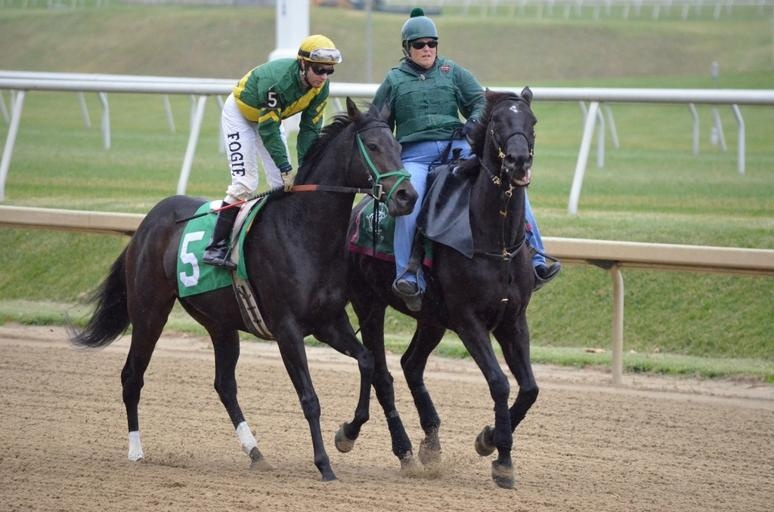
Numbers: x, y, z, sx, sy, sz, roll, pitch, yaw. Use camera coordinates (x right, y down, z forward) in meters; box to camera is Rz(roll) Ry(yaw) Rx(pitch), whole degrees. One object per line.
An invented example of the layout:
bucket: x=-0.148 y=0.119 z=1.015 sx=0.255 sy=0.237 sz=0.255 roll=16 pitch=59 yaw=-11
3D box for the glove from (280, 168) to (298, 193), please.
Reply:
glove: x=-0.931 y=-0.729 z=12.165 sx=0.157 sy=0.189 sz=0.070 roll=-12 pitch=-2 yaw=12

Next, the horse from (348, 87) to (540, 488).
horse: x=0.633 y=0.271 z=12.077 sx=1.642 sy=3.527 sz=1.011 roll=4 pitch=17 yaw=14

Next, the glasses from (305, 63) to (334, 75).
glasses: x=-0.627 y=-1.742 z=12.085 sx=0.126 sy=0.060 sz=0.158 roll=8 pitch=-1 yaw=-25

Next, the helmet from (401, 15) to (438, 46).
helmet: x=0.315 y=-2.171 z=12.454 sx=0.328 sy=0.277 sz=0.218 roll=0 pitch=16 yaw=1

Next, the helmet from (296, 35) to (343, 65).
helmet: x=-0.654 y=-1.935 z=12.097 sx=0.364 sy=0.189 sz=0.264 roll=-3 pitch=-17 yaw=35

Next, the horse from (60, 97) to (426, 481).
horse: x=-1.427 y=0.467 z=13.038 sx=1.367 sy=3.306 sz=5.157 roll=6 pitch=-8 yaw=-45

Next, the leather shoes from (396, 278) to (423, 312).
leather shoes: x=0.200 y=0.368 z=12.061 sx=0.150 sy=0.397 sz=0.166 roll=-5 pitch=47 yaw=29
